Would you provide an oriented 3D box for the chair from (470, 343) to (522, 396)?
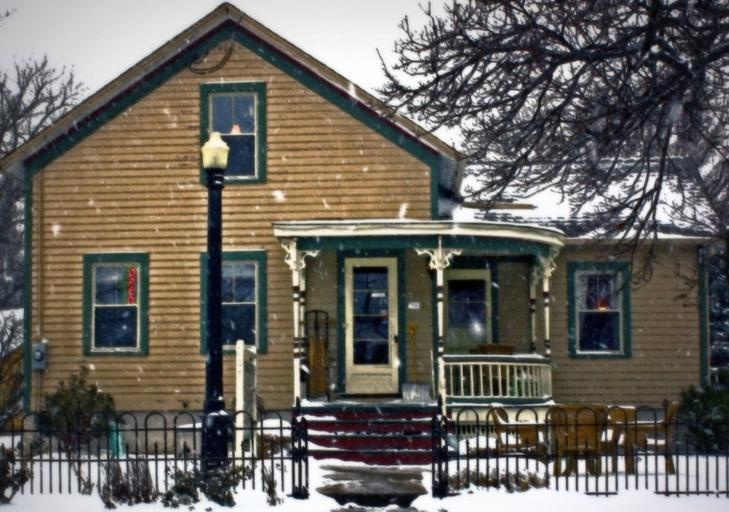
[{"bbox_3d":[3.179,2.781,34.364,1.117,1.778,1.163,-1,-4,8],"label":"chair"}]
